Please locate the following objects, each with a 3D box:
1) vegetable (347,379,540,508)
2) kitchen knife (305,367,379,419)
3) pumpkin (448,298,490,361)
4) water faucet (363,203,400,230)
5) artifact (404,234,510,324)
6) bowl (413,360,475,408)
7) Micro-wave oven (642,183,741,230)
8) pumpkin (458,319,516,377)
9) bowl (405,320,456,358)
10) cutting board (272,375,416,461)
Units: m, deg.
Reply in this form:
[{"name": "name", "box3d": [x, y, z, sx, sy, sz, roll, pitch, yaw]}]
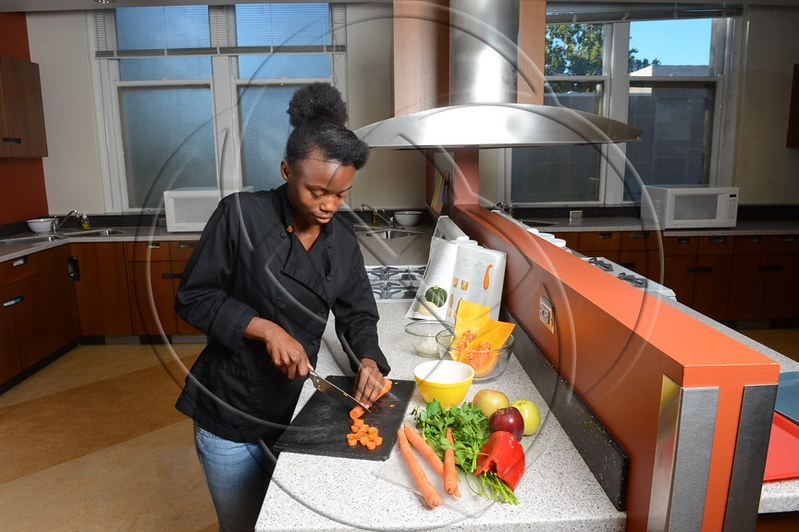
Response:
[{"name": "vegetable", "box3d": [0.134, 0.399, 1.216, 0.194, 0.086, 0.255, -2, 28, -11]}, {"name": "kitchen knife", "box3d": [-0.154, 0.352, 1.374, 0.272, 0.039, 0.013, 33, 30, 21]}, {"name": "pumpkin", "box3d": [0.210, 0.179, 1.519, 0.113, 0.034, 0.288, 6, 29, 16]}, {"name": "water faucet", "box3d": [-0.039, -0.100, 1.046, 0.034, 0.046, 0.114, -18, 26, -39]}, {"name": "artifact", "box3d": [0.194, 0.099, 1.708, 0.295, 0.271, 0.249, 9, -19, 11]}, {"name": "bowl", "box3d": [0.123, 0.343, 1.436, 0.167, 0.098, 0.171, 1, 11, 0]}, {"name": "Micro-wave oven", "box3d": [2.129, -0.410, 3.619, 0.624, 0.355, 0.466, -1, 5, -10]}, {"name": "pumpkin", "box3d": [0.259, 0.236, 1.473, 0.119, 0.194, 0.092, 31, 6, 32]}, {"name": "bowl", "box3d": [0.085, 0.237, 1.652, 0.123, 0.057, 0.125, 0, 13, 0]}, {"name": "cutting board", "box3d": [-0.129, 0.404, 1.417, 0.330, 0.017, 0.417, 0, 16, 8]}]
